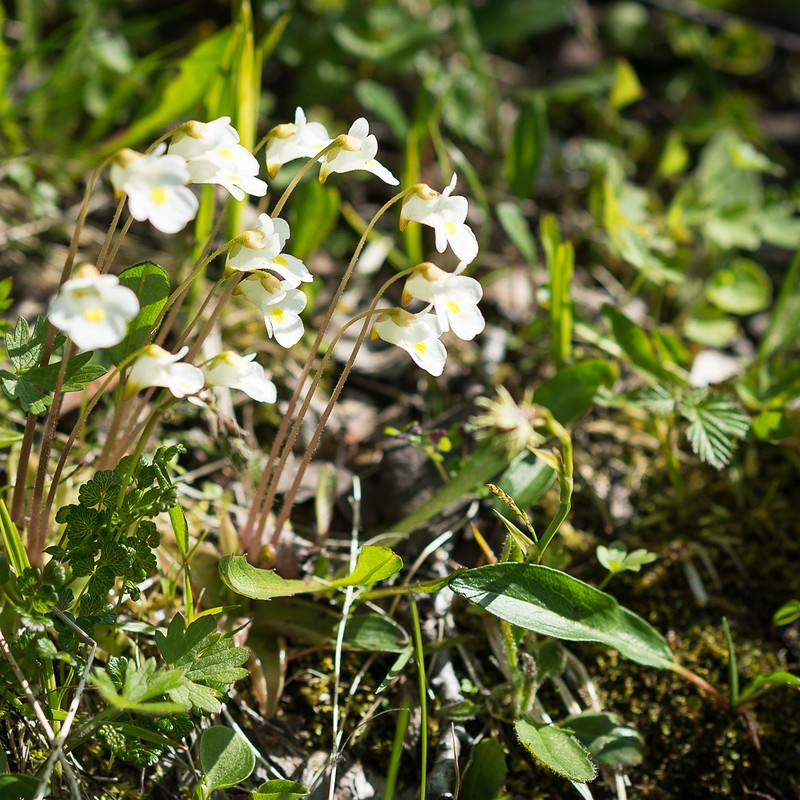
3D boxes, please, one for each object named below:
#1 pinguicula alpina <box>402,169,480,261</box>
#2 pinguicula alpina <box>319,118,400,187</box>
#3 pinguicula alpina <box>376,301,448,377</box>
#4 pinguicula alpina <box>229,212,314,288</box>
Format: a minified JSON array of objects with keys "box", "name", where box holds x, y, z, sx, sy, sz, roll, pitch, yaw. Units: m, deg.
[{"box":[0.055,-0.308,1.430,0.128,0.146,0.128,0,17,-2],"name":"pinguicula alpina"},{"box":[-0.068,-0.414,1.459,0.122,0.114,0.220,10,19,-7],"name":"pinguicula alpina"},{"box":[0.025,-0.103,1.424,0.103,0.118,0.087,-1,15,-4],"name":"pinguicula alpina"},{"box":[-0.212,-0.238,1.390,0.125,0.105,0.123,26,23,33],"name":"pinguicula alpina"}]
